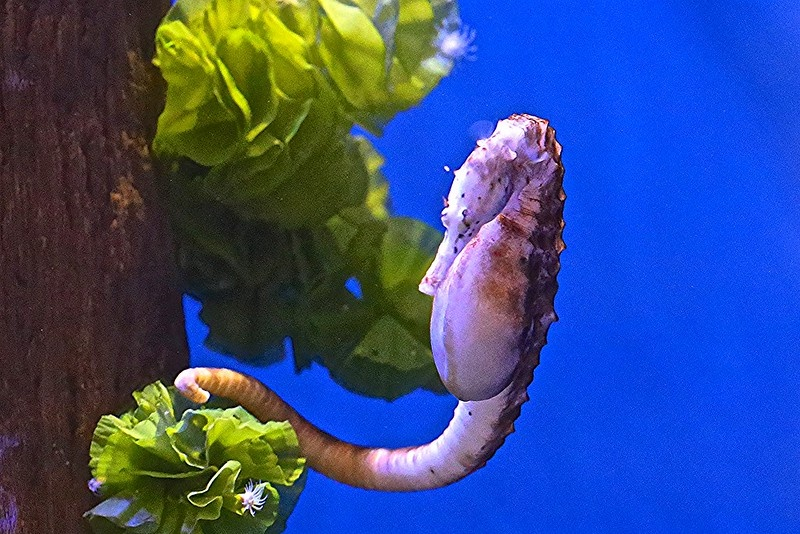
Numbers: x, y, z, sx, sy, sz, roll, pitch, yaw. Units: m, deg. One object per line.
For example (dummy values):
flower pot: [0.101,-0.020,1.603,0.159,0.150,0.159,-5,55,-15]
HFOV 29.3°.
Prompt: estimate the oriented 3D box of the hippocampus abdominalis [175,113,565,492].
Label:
hippocampus abdominalis: [-0.006,0.032,1.926,0.404,0.506,0.172,19,29,-4]
